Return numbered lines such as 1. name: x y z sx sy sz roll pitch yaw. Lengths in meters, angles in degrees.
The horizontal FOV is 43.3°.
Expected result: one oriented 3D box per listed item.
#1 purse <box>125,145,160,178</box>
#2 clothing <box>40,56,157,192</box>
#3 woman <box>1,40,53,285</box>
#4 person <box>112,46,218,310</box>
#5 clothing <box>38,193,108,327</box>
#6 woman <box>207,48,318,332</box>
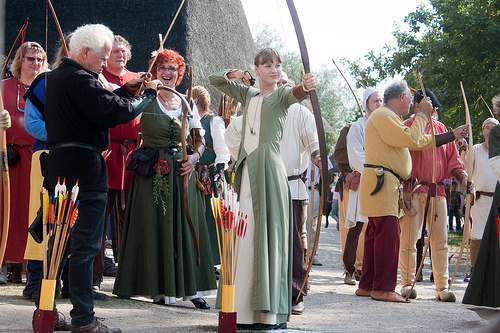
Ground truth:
1. purse: -1.257 -0.061 7.352 0.366 0.351 0.212 14 1 35
2. clothing: -1.565 -0.235 6.570 1.115 1.602 1.064 -3 5 -22
3. woman: -2.766 -0.179 7.556 0.296 3.364 0.505 1 -5 39
4. person: -0.837 0.218 7.470 1.249 2.910 0.914 8 -5 -5
5. clothing: -1.585 0.905 6.098 0.316 1.299 0.208 3 -10 -15
6. woman: 0.144 0.210 6.671 1.002 2.998 0.552 -2 -10 13
